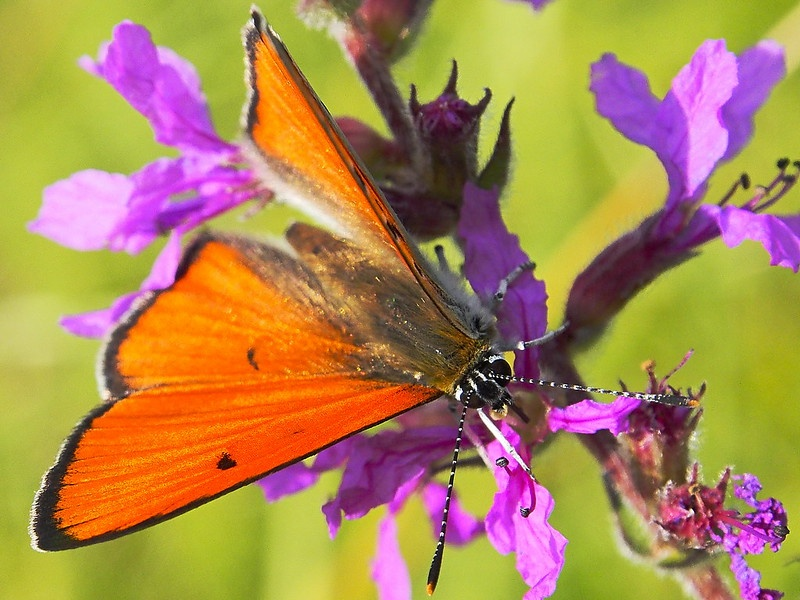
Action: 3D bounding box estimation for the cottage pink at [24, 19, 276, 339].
[{"bbox_3d":[-0.605,-0.282,2.163,0.513,0.664,0.332,-24,23,-32],"label":"cottage pink"}]

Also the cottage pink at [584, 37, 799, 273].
[{"bbox_3d":[0.739,-0.348,2.080,0.545,0.475,0.393,-20,22,-23],"label":"cottage pink"}]
